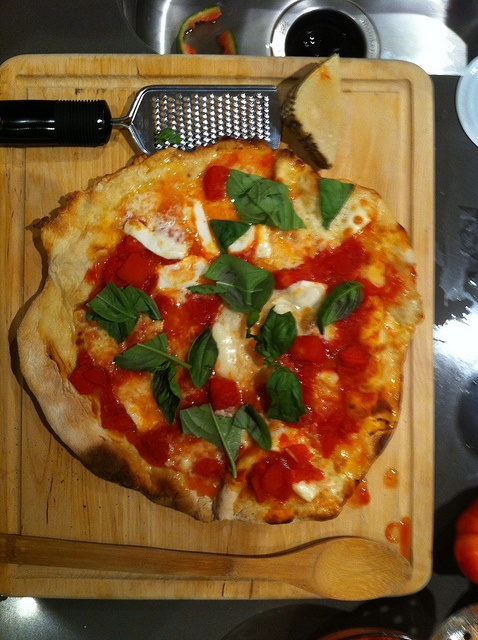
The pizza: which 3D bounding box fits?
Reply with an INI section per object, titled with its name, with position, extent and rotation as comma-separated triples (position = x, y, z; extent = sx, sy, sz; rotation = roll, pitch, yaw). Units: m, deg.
[pizza]
position = -0.077, 0.010, 1.966
extent = 1.209, 0.422, 1.101
rotation = 22, 74, 7
